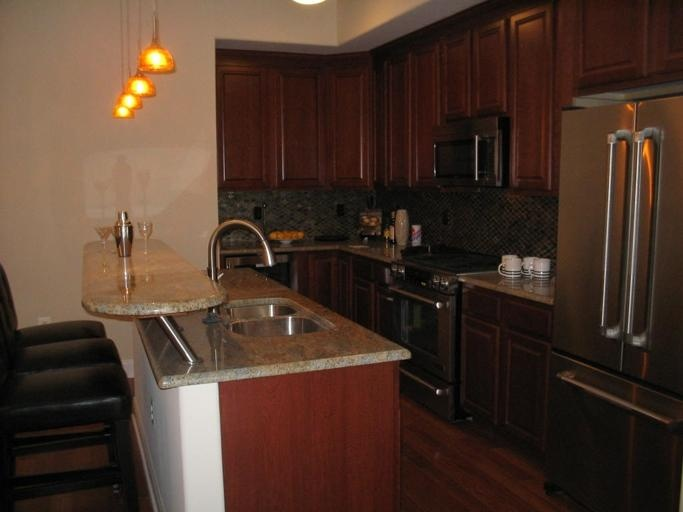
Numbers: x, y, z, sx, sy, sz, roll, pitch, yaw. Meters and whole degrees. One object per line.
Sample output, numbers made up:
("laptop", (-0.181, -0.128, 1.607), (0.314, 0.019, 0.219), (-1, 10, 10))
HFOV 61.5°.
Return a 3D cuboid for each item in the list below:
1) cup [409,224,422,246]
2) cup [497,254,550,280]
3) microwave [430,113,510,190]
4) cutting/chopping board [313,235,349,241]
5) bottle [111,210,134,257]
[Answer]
("cup", (0.714, -0.198, 5.511), (0.104, 0.194, 0.163), (-2, 13, -7))
("cup", (1.218, 0.085, 3.798), (0.269, 0.122, 0.172), (-1, 6, -9))
("microwave", (0.976, -0.782, 4.380), (0.180, 0.534, 0.815), (-5, 13, -19))
("cutting/chopping board", (-0.114, -0.167, 5.986), (0.340, 0.050, 0.213), (-2, 13, -6))
("bottle", (-1.389, -0.144, 3.635), (0.109, 0.284, 0.358), (-6, 13, -21))
